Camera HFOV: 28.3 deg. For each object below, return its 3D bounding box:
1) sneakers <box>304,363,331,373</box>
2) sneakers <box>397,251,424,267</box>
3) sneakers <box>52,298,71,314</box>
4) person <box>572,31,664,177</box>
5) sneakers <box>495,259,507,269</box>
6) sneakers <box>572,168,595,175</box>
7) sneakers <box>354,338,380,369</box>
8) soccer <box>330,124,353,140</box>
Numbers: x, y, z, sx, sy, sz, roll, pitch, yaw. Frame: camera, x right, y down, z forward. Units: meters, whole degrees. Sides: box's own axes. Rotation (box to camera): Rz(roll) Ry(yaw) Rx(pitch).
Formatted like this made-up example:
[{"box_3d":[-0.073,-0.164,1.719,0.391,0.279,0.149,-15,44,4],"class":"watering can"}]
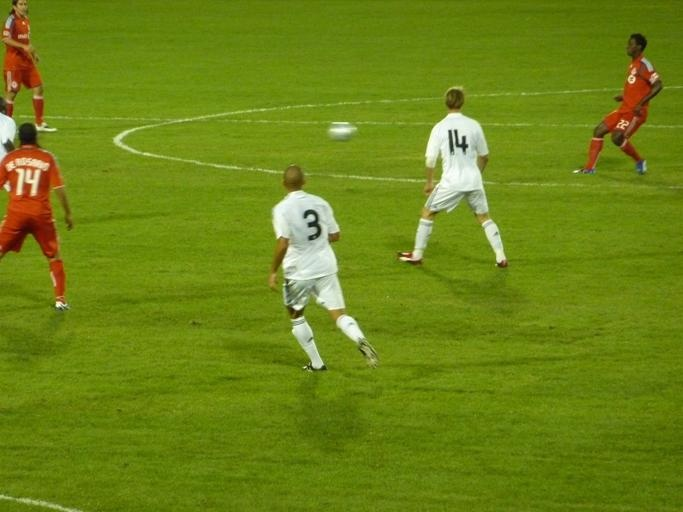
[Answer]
[{"box_3d":[-0.334,1.581,18.371,0.347,0.127,0.120,4,10,22],"class":"sneakers"},{"box_3d":[1.061,0.102,21.178,0.332,0.128,0.176,4,4,35],"class":"sneakers"},{"box_3d":[-4.012,0.771,19.566,0.297,0.151,0.103,20,50,21],"class":"sneakers"},{"box_3d":[5.286,-2.714,25.388,1.259,2.783,1.124,3,19,-14],"class":"person"},{"box_3d":[2.471,0.193,20.926,0.161,0.102,0.123,-5,14,-24],"class":"sneakers"},{"box_3d":[4.622,-1.544,25.937,0.459,0.151,0.144,2,4,7],"class":"sneakers"},{"box_3d":[0.339,1.330,17.780,0.295,0.370,0.189,12,19,16],"class":"sneakers"},{"box_3d":[0.070,-2.594,29.029,0.480,0.200,0.458,-8,14,-36],"class":"soccer"}]
